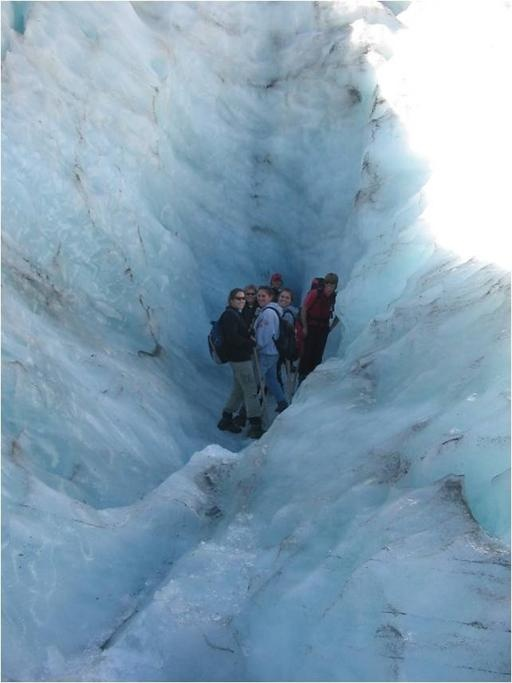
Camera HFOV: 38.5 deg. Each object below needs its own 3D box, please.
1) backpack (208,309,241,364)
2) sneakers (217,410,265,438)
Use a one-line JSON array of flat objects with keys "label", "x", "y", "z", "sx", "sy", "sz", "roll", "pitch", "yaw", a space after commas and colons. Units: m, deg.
[{"label": "backpack", "x": -0.194, "y": -0.025, "z": 4.542, "sx": 0.220, "sy": 0.283, "sz": 0.345, "roll": 1, "pitch": -30, "yaw": 1}, {"label": "sneakers", "x": -0.093, "y": 0.528, "z": 4.709, "sx": 0.267, "sy": 0.179, "sz": 0.159, "roll": 14, "pitch": -44, "yaw": 14}]
